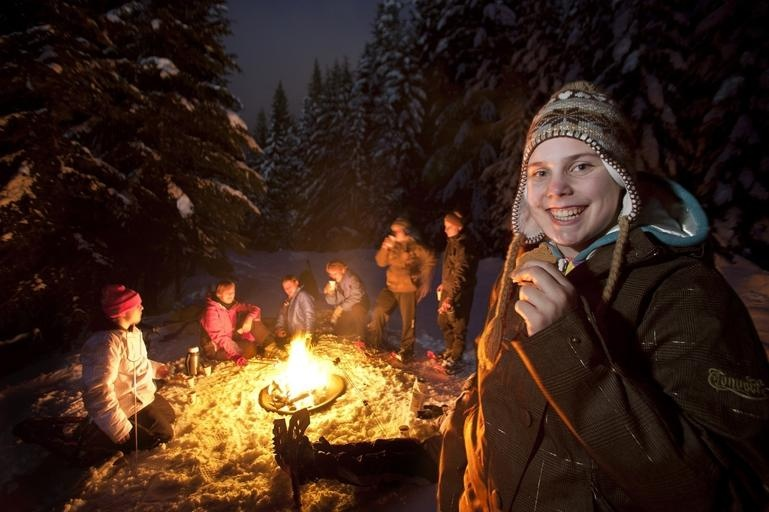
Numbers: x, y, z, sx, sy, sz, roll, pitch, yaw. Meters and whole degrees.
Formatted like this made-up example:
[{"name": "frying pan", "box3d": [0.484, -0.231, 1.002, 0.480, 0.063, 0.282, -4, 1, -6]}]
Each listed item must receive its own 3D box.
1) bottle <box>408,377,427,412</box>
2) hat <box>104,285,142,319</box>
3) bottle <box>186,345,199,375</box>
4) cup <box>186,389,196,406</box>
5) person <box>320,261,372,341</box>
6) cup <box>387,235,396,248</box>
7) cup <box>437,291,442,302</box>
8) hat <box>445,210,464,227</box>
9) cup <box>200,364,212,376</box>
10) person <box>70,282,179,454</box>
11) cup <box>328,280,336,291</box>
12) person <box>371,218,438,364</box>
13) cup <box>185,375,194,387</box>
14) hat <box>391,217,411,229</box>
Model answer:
[{"name": "bottle", "box3d": [0.713, 2.905, 11.543, 0.358, 0.453, 1.196, 2, -2, 5]}, {"name": "hat", "box3d": [-5.083, 0.901, 10.675, 0.719, 0.653, 0.687, -12, -8, -16]}, {"name": "bottle", "box3d": [-4.177, 2.300, 12.096, 0.296, 0.609, 0.242, 3, -1, -13]}, {"name": "cup", "box3d": [-3.965, 2.920, 11.454, 0.175, 0.252, 0.355, 3, -2, -21]}, {"name": "person", "box3d": [-1.060, 1.274, 14.937, 1.159, 2.256, 1.081, 2, -29, -27]}, {"name": "cup", "box3d": [0.162, -0.360, 13.133, 0.228, 0.239, 0.248, -1, 1, 0]}, {"name": "cup", "box3d": [1.346, 0.980, 13.648, 0.123, 0.129, 0.428, -13, -26, -2]}, {"name": "hat", "box3d": [1.629, -0.839, 12.646, 0.388, 0.308, 0.303, -26, 35, -34]}, {"name": "cup", "box3d": [-3.916, 2.521, 12.202, 0.185, 0.189, 0.188, -2, -9, 0]}, {"name": "person", "box3d": [-4.902, 2.091, 10.435, 1.431, 3.160, 0.655, 3, -1, -30]}, {"name": "cup", "box3d": [-1.340, 0.760, 14.308, 0.205, 0.226, 0.208, -1, 7, 0]}, {"name": "person", "box3d": [0.421, 0.782, 13.253, 1.393, 2.519, 0.586, 2, -1, 26]}, {"name": "cup", "box3d": [-4.145, 2.693, 11.852, 0.225, 0.225, 0.155, 1, 0, 36]}, {"name": "hat", "box3d": [0.392, -0.757, 13.226, 0.368, 0.294, 0.227, -17, 16, 20]}]
